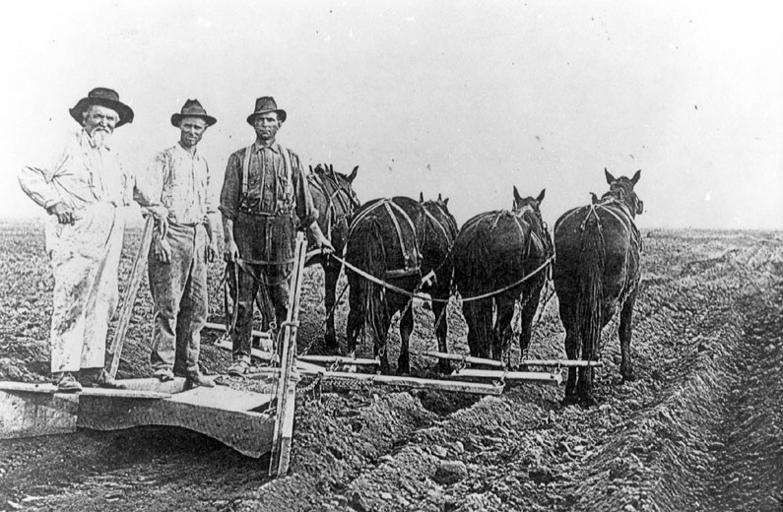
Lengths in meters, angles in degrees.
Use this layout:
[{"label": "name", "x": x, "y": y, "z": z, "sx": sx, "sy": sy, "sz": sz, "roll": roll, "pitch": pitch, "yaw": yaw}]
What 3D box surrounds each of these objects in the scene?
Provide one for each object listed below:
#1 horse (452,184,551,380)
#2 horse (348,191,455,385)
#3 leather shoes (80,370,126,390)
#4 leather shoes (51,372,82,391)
[{"label": "horse", "x": 1.355, "y": 0.287, "z": 10.034, "sx": 0.691, "sy": 1.962, "sz": 2.424, "roll": 0, "pitch": 4, "yaw": 24}, {"label": "horse", "x": 0.146, "y": 0.275, "z": 10.272, "sx": 0.844, "sy": 2.118, "sz": 2.983, "roll": 5, "pitch": 5, "yaw": 18}, {"label": "leather shoes", "x": -3.025, "y": 1.340, "z": 9.352, "sx": 0.240, "sy": 0.178, "sz": 0.333, "roll": -13, "pitch": -29, "yaw": 44}, {"label": "leather shoes", "x": -3.379, "y": 1.326, "z": 9.380, "sx": 0.359, "sy": 0.194, "sz": 0.146, "roll": 1, "pitch": -4, "yaw": 1}]
